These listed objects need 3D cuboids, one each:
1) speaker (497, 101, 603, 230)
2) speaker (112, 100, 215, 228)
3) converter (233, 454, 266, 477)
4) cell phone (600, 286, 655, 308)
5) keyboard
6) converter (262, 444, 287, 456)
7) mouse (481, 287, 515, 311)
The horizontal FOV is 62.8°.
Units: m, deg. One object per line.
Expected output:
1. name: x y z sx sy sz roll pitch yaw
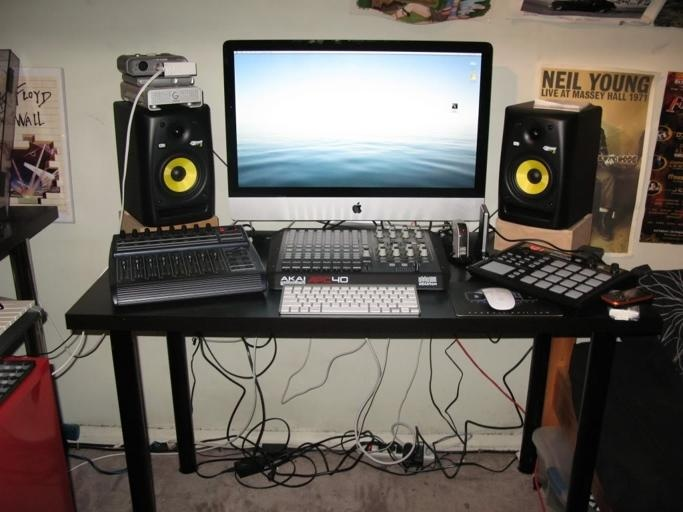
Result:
1. speaker: 0.702 -0.347 1.959 0.251 0.379 0.285 11 29 28
2. speaker: -0.602 -0.373 1.966 0.237 0.408 0.337 -8 35 -24
3. converter: -0.374 0.833 2.271 0.106 0.037 0.063 -9 38 -16
4. cell phone: 0.850 0.108 1.659 0.119 0.043 0.068 -10 28 -7
5. keyboard: 0.022 0.124 1.675 0.409 0.062 0.118 -1 16 -1
6. converter: -0.290 0.800 2.364 0.055 0.014 0.053 5 13 -1
7. mouse: 0.472 0.121 1.677 0.098 0.047 0.085 0 16 4
